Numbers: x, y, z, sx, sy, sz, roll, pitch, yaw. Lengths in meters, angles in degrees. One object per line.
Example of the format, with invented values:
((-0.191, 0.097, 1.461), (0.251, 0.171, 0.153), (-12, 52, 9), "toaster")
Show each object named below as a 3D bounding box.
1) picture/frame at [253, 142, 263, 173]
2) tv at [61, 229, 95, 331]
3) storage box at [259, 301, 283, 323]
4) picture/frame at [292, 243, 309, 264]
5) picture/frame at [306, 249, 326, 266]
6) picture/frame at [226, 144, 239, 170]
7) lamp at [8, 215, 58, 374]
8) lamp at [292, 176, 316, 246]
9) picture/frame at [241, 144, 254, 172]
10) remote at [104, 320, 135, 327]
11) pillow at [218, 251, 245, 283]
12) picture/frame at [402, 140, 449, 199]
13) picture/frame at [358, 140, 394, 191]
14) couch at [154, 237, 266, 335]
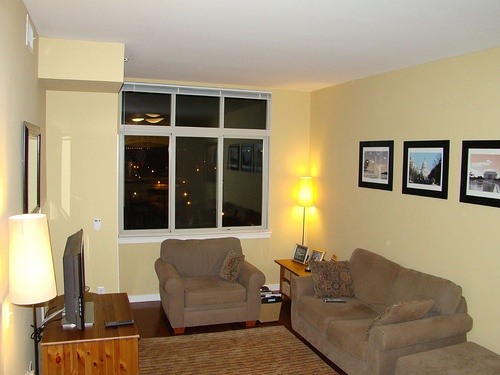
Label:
((0.130, -0.495, 6.698), (0.164, 0.503, 0.052), (-1, 9, -15), "picture/frame")
((-1.642, 0.857, 3.719), (0.216, 0.603, 0.773), (-2, 7, -19), "tv")
((0.272, 1.729, 5.548), (0.284, 0.305, 0.290), (1, -1, -19), "storage box")
((0.817, 1.103, 6.462), (0.032, 0.255, 0.237), (25, -12, -40), "picture/frame")
((0.981, 1.063, 5.931), (0.256, 0.338, 0.035), (-1, -41, 41), "picture/frame")
((-0.283, -0.490, 6.577), (0.215, 0.422, 0.069), (1, 9, -6), "picture/frame")
((-1.611, 0.868, 2.910), (0.288, 1.384, 0.469), (-5, 11, -35), "lamp")
((0.939, 0.426, 6.836), (0.269, 1.205, 0.292), (0, 9, -10), "lamp")
((-0.054, -0.491, 6.645), (0.209, 0.466, 0.079), (1, 9, -5), "picture/frame")
((-1.150, 1.203, 3.478), (0.155, 0.030, 0.093), (0, 0, -13), "remote")
((-0.269, 1.157, 5.704), (0.115, 0.366, 0.352), (28, -8, -37), "pillow")
((2.083, -0.213, 4.645), (0.035, 0.792, 0.653), (-1, 2, -27), "picture/frame")
((1.727, -0.297, 5.355), (0.029, 0.749, 0.626), (-2, 4, -26), "picture/frame")
((-0.572, 1.386, 5.471), (1.493, 1.231, 1.114), (0, -3, -16), "couch")
